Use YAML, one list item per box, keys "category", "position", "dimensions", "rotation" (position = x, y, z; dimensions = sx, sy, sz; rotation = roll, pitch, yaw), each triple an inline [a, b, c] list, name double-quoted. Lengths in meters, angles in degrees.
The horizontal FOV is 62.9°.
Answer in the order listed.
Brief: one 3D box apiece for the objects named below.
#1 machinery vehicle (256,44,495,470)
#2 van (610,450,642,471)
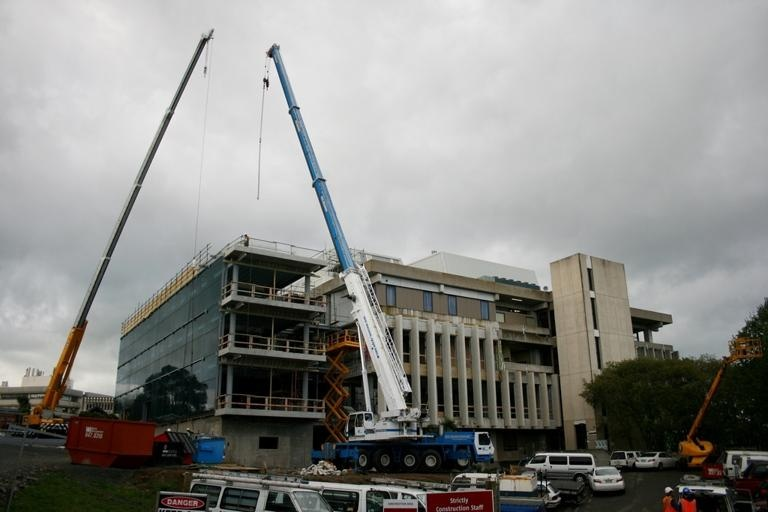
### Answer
- category: "machinery vehicle"
  position: [-1.349, 1.212, 44.814]
  dimensions: [5.649, 29.533, 16.283]
  rotation: [-18, 7, -38]
- category: "van"
  position: [20.404, 17.573, 54.066]
  dimensions: [3.272, 1.625, 1.783]
  rotation: [-3, -8, -38]
